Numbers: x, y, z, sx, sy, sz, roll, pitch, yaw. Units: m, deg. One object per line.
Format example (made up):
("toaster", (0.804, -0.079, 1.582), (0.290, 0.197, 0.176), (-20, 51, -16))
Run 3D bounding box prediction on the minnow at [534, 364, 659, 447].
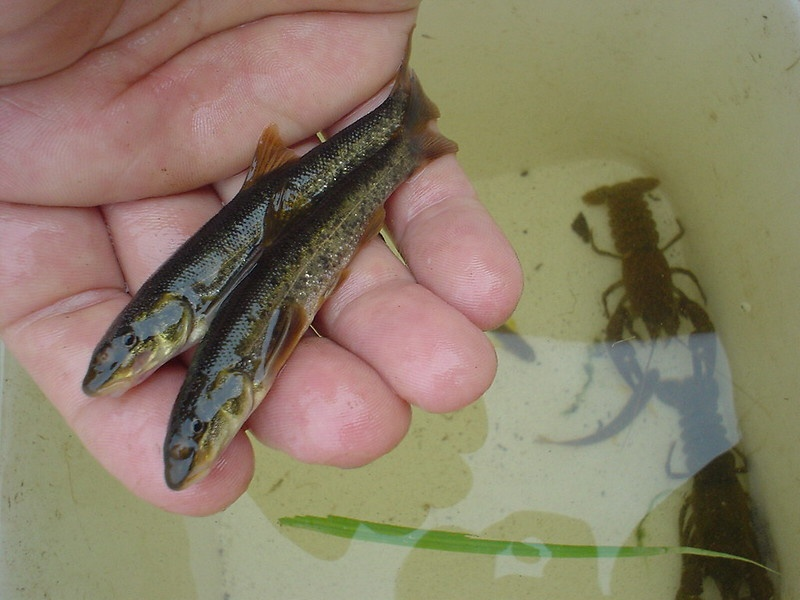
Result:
("minnow", (0.839, 0.482, 3.602), (0.559, 0.029, 0.143), (-31, 82, -4))
